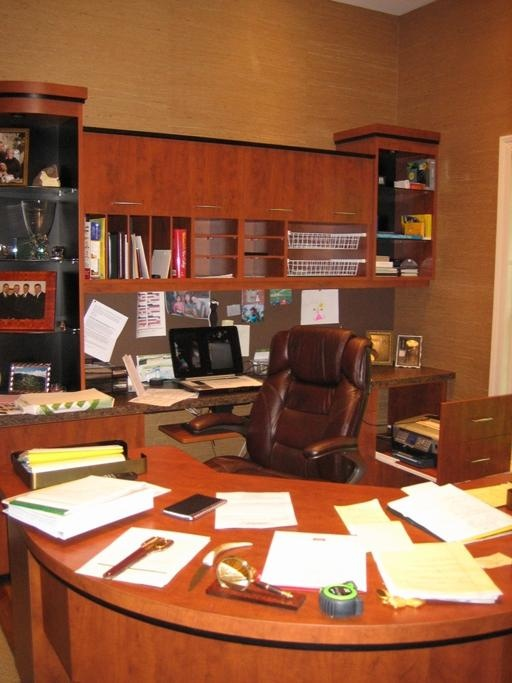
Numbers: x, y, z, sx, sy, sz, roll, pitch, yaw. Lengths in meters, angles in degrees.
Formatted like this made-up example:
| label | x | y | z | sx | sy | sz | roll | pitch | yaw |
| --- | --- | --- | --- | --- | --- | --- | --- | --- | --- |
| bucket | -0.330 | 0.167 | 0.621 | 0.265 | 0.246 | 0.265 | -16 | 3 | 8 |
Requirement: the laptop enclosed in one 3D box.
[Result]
| label | x | y | z | sx | sy | sz | roll | pitch | yaw |
| --- | --- | --- | --- | --- | --- | --- | --- | --- | --- |
| laptop | -0.225 | 0.096 | 3.165 | 0.528 | 0.297 | 0.511 | 1 | 10 | -6 |

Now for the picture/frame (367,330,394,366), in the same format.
| label | x | y | z | sx | sy | sz | roll | pitch | yaw |
| --- | --- | --- | --- | --- | --- | --- | --- | --- | --- |
| picture/frame | 0.812 | 0.048 | 3.608 | 0.252 | 0.308 | 0.032 | 0 | -2 | -4 |

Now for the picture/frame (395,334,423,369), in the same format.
| label | x | y | z | sx | sy | sz | roll | pitch | yaw |
| --- | --- | --- | --- | --- | --- | --- | --- | --- | --- |
| picture/frame | 1.067 | 0.079 | 3.848 | 0.230 | 0.288 | 0.030 | 3 | -5 | 29 |

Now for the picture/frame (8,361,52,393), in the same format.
| label | x | y | z | sx | sy | sz | roll | pitch | yaw |
| --- | --- | --- | --- | --- | --- | --- | --- | --- | --- |
| picture/frame | -1.202 | 0.194 | 2.910 | 0.177 | 0.151 | 0.020 | 0 | -25 | -7 |

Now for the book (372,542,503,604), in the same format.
| label | x | y | z | sx | sy | sz | roll | pitch | yaw |
| --- | --- | --- | --- | --- | --- | --- | --- | --- | --- |
| book | 0.353 | 0.456 | 1.104 | 0.209 | 0.033 | 0.249 | 1 | 3 | 2 |
